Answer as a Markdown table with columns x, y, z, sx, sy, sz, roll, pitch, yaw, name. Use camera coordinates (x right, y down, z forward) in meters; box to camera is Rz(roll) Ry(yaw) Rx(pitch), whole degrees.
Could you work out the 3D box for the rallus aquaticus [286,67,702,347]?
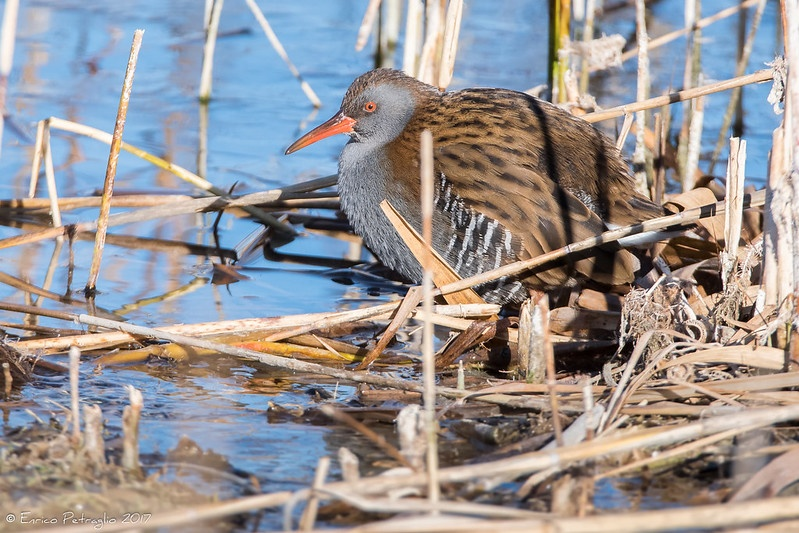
| x | y | z | sx | sy | sz | roll | pitch | yaw | name |
| --- | --- | --- | --- | --- | --- | --- | --- | --- | --- |
| 0.379 | -0.456 | 3.728 | 1.479 | 1.100 | 0.443 | -2 | -19 | 12 | rallus aquaticus |
